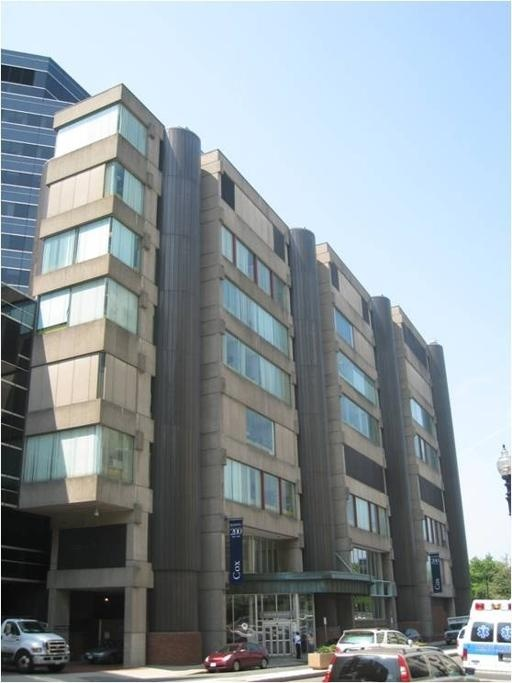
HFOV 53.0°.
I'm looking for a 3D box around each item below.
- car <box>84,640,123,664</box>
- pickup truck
[{"bbox_3d":[-8.010,16.372,26.999,2.069,0.800,1.273,23,-58,-9],"label":"car"},{"bbox_3d":[-9.320,12.334,20.734,3.389,1.854,1.617,-33,-44,30],"label":"pickup truck"}]
